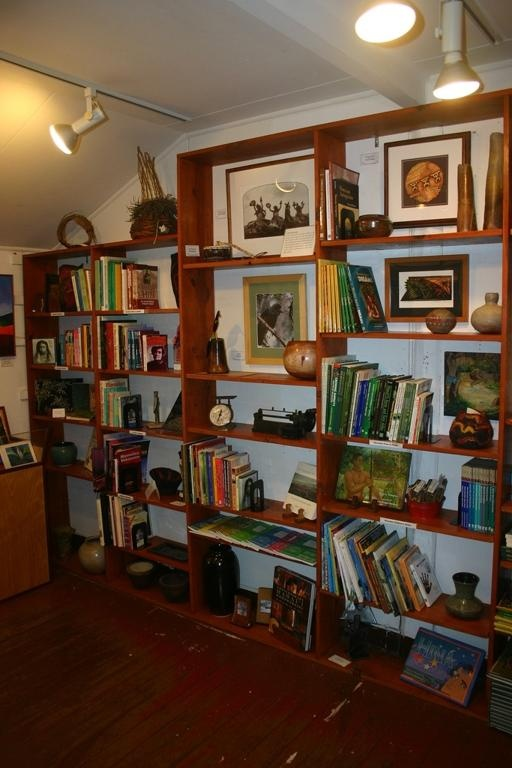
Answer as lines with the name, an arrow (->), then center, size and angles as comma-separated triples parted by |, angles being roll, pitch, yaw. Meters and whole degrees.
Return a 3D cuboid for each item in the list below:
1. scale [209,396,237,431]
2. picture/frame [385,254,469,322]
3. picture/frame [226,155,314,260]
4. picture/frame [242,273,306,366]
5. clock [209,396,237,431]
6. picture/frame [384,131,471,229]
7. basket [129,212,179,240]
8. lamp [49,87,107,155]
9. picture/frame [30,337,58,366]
scale -> -0.173, 0.157, 2.914 | 0.164, 0.208, 0.088 | 1, 1, 29
picture/frame -> 0.715, -0.396, 2.313 | 0.290, 0.248, 0.023 | 8, 14, 40
picture/frame -> 0.094, -0.857, 2.779 | 0.548, 0.401, 0.016 | 4, 18, 39
picture/frame -> 0.100, -0.333, 2.809 | 0.420, 0.505, 0.019 | 9, 14, 40
clock -> -0.175, 0.156, 2.916 | 0.165, 0.215, 0.084 | 1, 0, 28
picture/frame -> 0.701, -0.823, 2.264 | 0.426, 0.442, 0.043 | 9, 16, 41
basket -> -0.529, -0.838, 2.982 | 0.168, 0.081, 0.221 | -6, 14, -17
lamp -> -0.751, -1.137, 2.449 | 0.222, 0.303, 0.161 | 8, 10, -4
picture/frame -> -1.450, -0.215, 3.845 | 0.168, 0.198, 0.026 | 6, 12, 2
